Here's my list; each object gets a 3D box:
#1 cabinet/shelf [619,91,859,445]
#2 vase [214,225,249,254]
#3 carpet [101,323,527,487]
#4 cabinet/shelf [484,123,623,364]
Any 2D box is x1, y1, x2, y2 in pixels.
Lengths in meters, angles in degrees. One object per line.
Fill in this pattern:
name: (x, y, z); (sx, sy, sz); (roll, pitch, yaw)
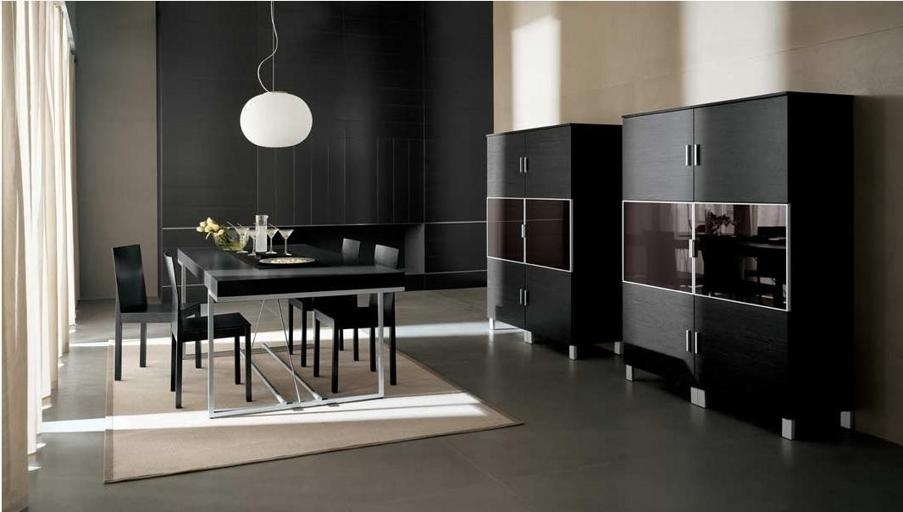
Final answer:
cabinet/shelf: (2.555, 0.059, 5.503); (1.770, 2.871, 0.812); (1, 9, 31)
vase: (-2.492, -0.187, 7.018); (0.470, 0.307, 0.513); (3, -6, -41)
carpet: (-1.550, 1.363, 5.937); (3.492, 0.297, 2.134); (-4, 7, -15)
cabinet/shelf: (1.177, -0.194, 7.350); (1.599, 2.642, 0.747); (4, 11, 45)
